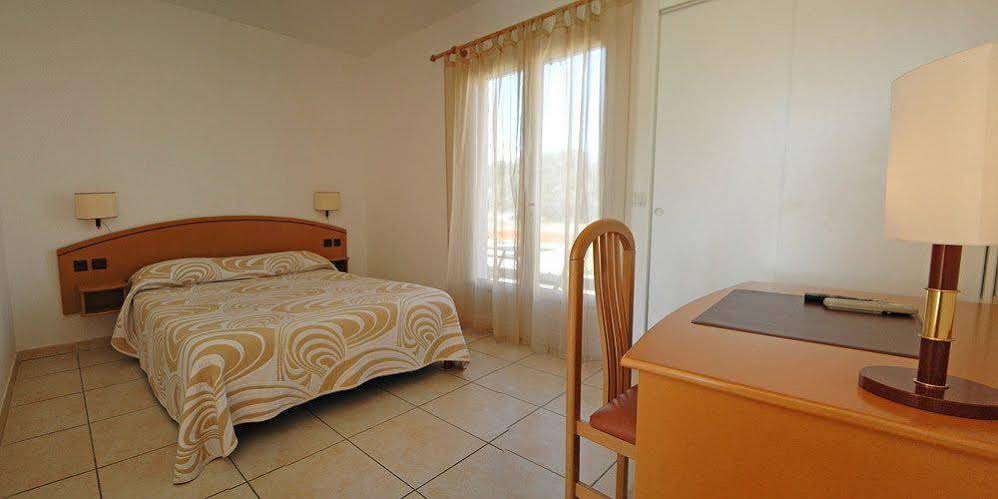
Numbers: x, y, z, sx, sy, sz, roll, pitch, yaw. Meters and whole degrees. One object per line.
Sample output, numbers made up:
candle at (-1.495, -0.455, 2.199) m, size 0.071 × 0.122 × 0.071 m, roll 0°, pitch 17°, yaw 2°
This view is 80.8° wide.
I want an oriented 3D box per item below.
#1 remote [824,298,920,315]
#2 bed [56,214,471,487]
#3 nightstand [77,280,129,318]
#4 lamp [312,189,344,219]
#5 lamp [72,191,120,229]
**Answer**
remote at (2.721, 0.425, 4.297) m, size 0.549 × 0.114 × 0.104 m, roll 1°, pitch -3°, yaw 15°
bed at (-2.330, 0.719, 5.903) m, size 2.610 × 1.958 × 3.003 m, roll -8°, pitch 12°, yaw -43°
nightstand at (-4.103, 0.503, 6.118) m, size 0.496 × 0.308 × 0.264 m, roll -2°, pitch 15°, yaw -37°
lamp at (-2.118, -0.563, 7.235) m, size 0.348 × 0.325 × 0.350 m, roll 3°, pitch 5°, yaw 35°
lamp at (-4.079, -0.417, 6.102) m, size 0.500 × 0.497 × 0.293 m, roll -4°, pitch 6°, yaw -36°
